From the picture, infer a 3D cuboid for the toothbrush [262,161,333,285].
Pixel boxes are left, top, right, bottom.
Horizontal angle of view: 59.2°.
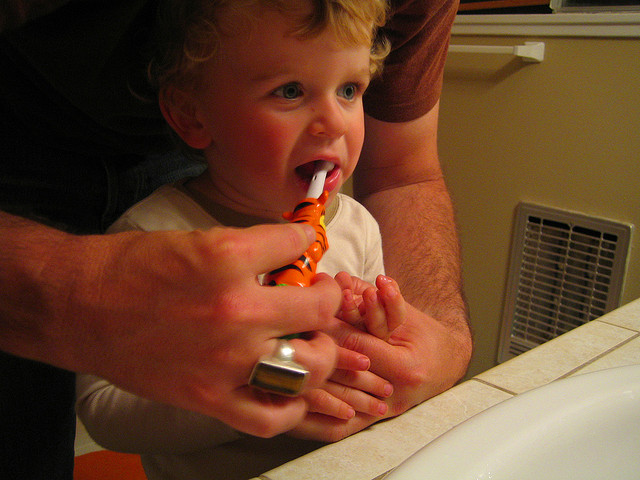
[{"bbox_3d":[-0.004,-0.019,0.674,0.044,0.051,0.188,-32,29,51],"label":"toothbrush"}]
